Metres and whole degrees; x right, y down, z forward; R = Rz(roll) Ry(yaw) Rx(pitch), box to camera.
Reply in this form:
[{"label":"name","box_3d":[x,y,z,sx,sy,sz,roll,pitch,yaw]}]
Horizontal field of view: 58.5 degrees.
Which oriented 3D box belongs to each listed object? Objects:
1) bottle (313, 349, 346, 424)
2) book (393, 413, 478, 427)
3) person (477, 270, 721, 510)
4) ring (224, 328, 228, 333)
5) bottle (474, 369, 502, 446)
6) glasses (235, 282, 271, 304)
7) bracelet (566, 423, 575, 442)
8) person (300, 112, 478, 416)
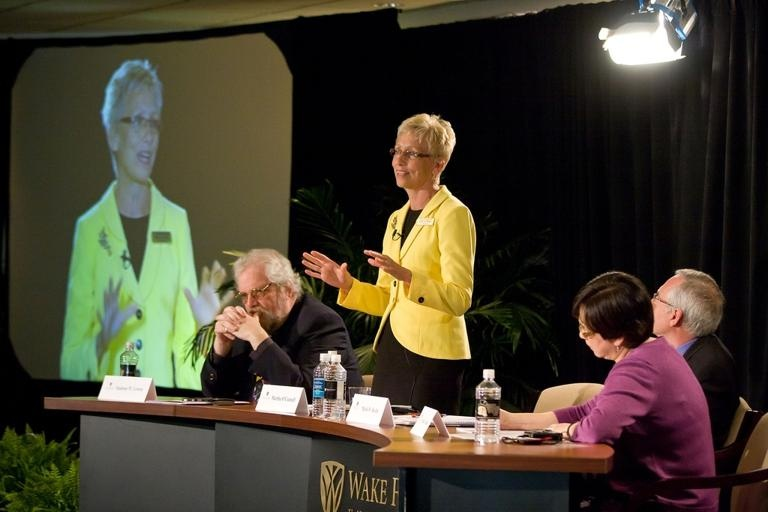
[{"label":"bottle","box_3d":[-0.266,0.618,3.307,0.164,0.308,0.358,2,-7,-5]},{"label":"book","box_3d":[0.224,0.768,3.191,0.371,0.041,0.185,1,-7,0]},{"label":"person","box_3d":[1.125,0.621,3.075,0.713,1.067,0.290,4,-6,-24]},{"label":"ring","box_3d":[-0.852,0.404,3.685,0.010,0.033,0.025,2,-21,-1]},{"label":"bottle","box_3d":[0.444,0.639,2.948,0.104,0.298,0.247,0,-6,9]},{"label":"glasses","box_3d":[-0.712,0.187,3.866,0.136,0.051,0.146,-21,-8,21]},{"label":"bracelet","box_3d":[0.803,0.767,2.974,0.054,0.017,0.058,-30,16,9]},{"label":"person","box_3d":[0.096,-0.003,3.670,0.747,1.656,0.501,0,-6,10]}]
